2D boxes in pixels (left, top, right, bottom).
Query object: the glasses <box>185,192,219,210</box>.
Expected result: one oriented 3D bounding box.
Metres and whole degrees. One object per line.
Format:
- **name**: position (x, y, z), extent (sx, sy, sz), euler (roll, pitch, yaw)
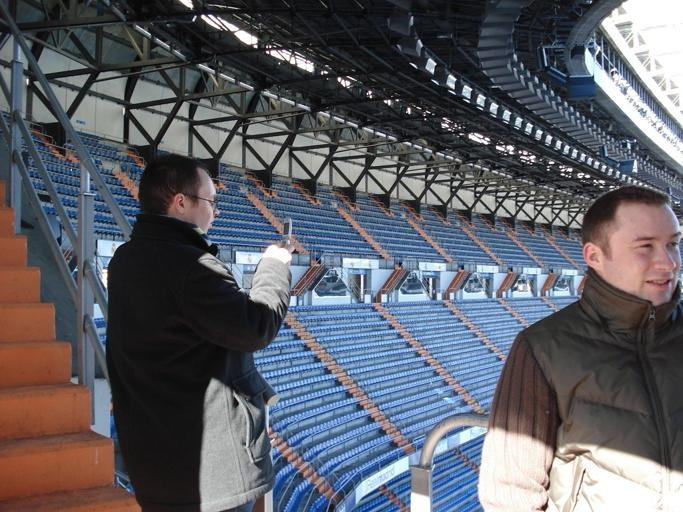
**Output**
- **glasses**: position (-0.826, -0.332, 4.567), extent (0.183, 0.048, 0.163), euler (12, 0, 5)
